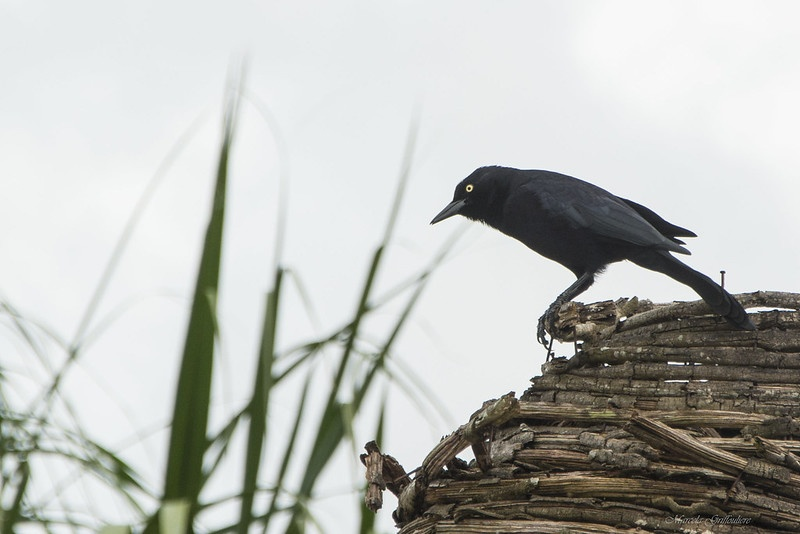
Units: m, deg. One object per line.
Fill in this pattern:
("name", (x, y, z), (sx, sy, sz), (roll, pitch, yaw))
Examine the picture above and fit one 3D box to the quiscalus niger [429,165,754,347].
("quiscalus niger", (0.854, -0.095, 6.949), (1.258, 0.491, 0.805), (-4, -96, -5))
